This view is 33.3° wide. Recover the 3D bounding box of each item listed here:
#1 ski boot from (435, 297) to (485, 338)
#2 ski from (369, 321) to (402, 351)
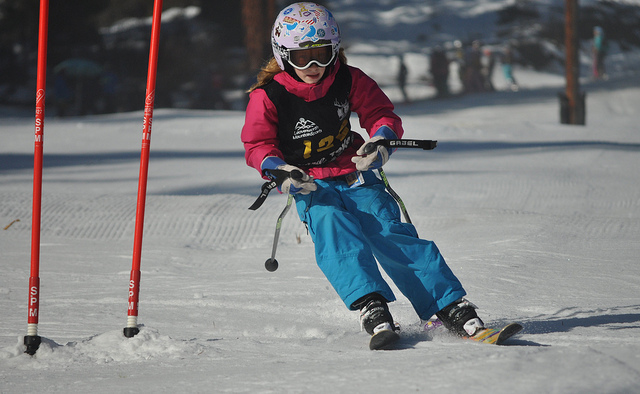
[{"bbox_3d":[1.732,1.504,13.346,0.411,0.581,0.240,-47,-16,-12],"label":"ski boot"},{"bbox_3d":[0.794,1.685,13.022,0.209,0.190,0.502,17,-24,-27],"label":"ski"}]
